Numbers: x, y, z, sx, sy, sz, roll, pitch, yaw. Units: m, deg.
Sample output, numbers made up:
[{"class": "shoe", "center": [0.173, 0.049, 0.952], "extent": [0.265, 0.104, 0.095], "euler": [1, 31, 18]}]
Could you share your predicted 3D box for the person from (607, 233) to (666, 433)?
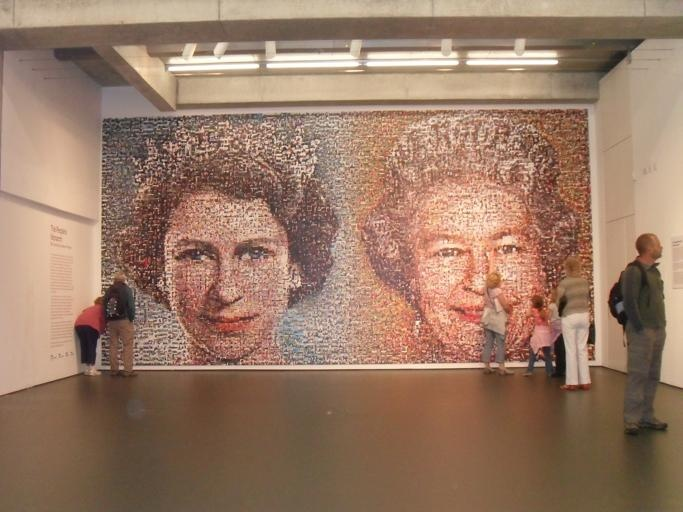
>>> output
[{"class": "person", "center": [3.408, 0.873, 7.681], "extent": [0.568, 2.213, 0.455], "euler": [-2, 6, -13]}]

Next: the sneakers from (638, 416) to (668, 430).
[{"class": "sneakers", "center": [3.579, 1.923, 7.755], "extent": [0.338, 0.158, 0.130], "euler": [-2, -4, 1]}]

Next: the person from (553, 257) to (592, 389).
[{"class": "person", "center": [3.337, 0.975, 9.667], "extent": [0.465, 1.854, 0.567], "euler": [0, 6, 8]}]

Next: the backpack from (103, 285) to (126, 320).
[{"class": "backpack", "center": [-3.782, 0.780, 11.154], "extent": [0.376, 0.588, 0.110], "euler": [1, 6, 13]}]

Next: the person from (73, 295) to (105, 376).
[{"class": "person", "center": [-4.228, 1.360, 11.286], "extent": [0.487, 1.228, 0.327], "euler": [-4, 7, -29]}]

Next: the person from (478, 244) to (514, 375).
[{"class": "person", "center": [2.548, 1.111, 11.237], "extent": [0.464, 1.663, 0.860], "euler": [1, 6, 14]}]
